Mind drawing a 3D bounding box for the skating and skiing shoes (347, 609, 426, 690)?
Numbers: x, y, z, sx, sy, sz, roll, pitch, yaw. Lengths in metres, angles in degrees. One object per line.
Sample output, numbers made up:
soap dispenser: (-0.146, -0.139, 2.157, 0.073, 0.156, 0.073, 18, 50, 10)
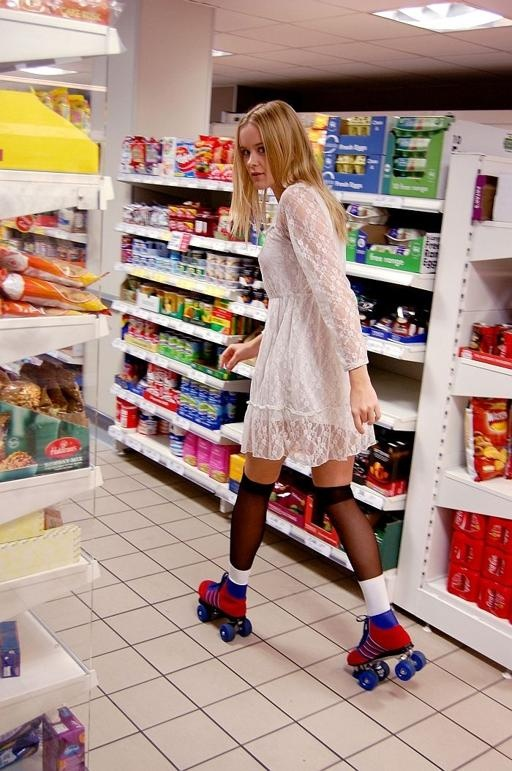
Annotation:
skating and skiing shoes: (0.439, 0.977, 2.102, 0.277, 0.274, 0.287, 2, 13, 0)

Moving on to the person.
person: (0.157, 0.081, 2.015, 0.704, 1.960, 0.801, 2, 17, 0)
